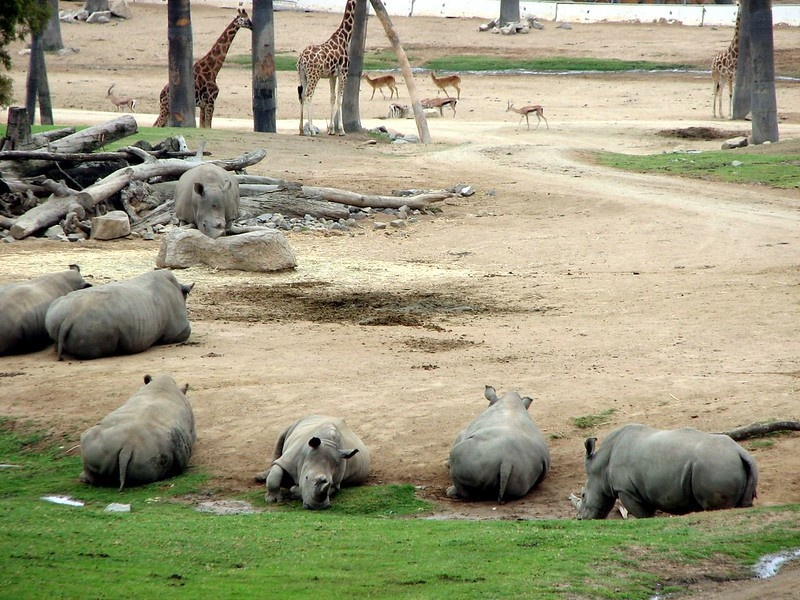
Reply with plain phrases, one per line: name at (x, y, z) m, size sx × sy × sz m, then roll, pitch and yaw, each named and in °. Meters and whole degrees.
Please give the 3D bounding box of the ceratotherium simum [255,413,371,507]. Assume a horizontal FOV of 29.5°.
ceratotherium simum at (-1.091, 2.149, 20.281) m, size 0.997 × 0.654 × 1.508 m, roll 4°, pitch 6°, yaw -9°

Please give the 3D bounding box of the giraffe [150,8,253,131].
giraffe at (-5.241, -6.300, 41.037) m, size 1.928 × 3.327 × 3.303 m, roll 2°, pitch 5°, yaw 11°

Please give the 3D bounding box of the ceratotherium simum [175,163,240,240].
ceratotherium simum at (-3.630, -1.886, 28.544) m, size 1.038 × 1.365 × 1.783 m, roll 1°, pitch 4°, yaw -12°

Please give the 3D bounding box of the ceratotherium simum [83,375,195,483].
ceratotherium simum at (-3.525, 1.855, 20.676) m, size 1.494 × 1.345 × 0.691 m, roll -2°, pitch 6°, yaw -39°

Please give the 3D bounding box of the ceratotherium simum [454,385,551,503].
ceratotherium simum at (1.375, 1.997, 20.825) m, size 0.880 × 0.724 × 1.648 m, roll 3°, pitch 19°, yaw 4°

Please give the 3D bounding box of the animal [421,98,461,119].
animal at (1.224, -6.358, 49.849) m, size 1.476 × 0.708 × 0.596 m, roll 2°, pitch 6°, yaw 17°

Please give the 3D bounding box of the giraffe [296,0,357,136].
giraffe at (-2.115, -6.614, 43.428) m, size 1.540 × 3.861 × 3.574 m, roll 1°, pitch 5°, yaw -3°
